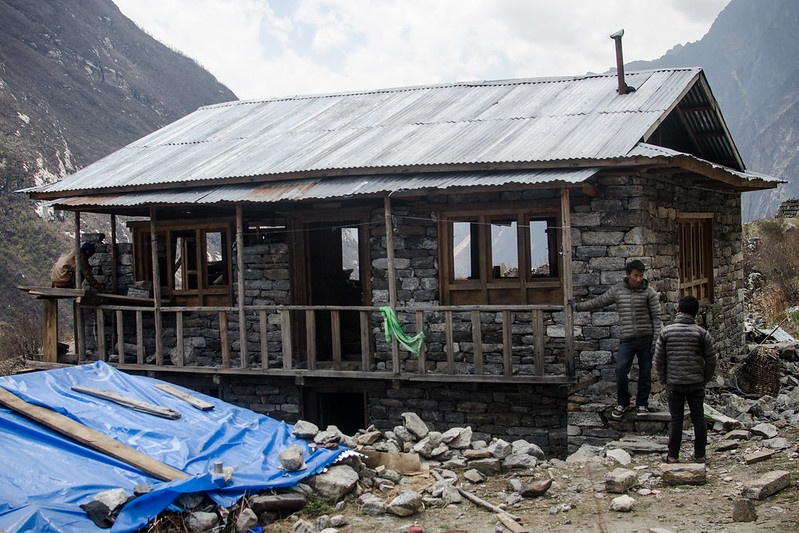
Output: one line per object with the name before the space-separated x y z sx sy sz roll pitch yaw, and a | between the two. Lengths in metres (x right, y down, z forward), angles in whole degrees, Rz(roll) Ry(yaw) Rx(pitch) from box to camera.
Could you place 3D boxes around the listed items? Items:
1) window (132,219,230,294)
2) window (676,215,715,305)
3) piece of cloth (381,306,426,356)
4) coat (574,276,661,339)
window | -5.912 -0.188 30.466 2.860 2.001 1.547 -5 -7 0
window | 7.654 -0.165 28.516 0.192 2.415 2.461 -5 -1 35
piece of cloth | 0.009 1.570 26.998 0.991 1.249 0.475 -9 19 43
coat | 5.230 0.986 26.125 1.583 1.210 0.308 -1 -4 2
